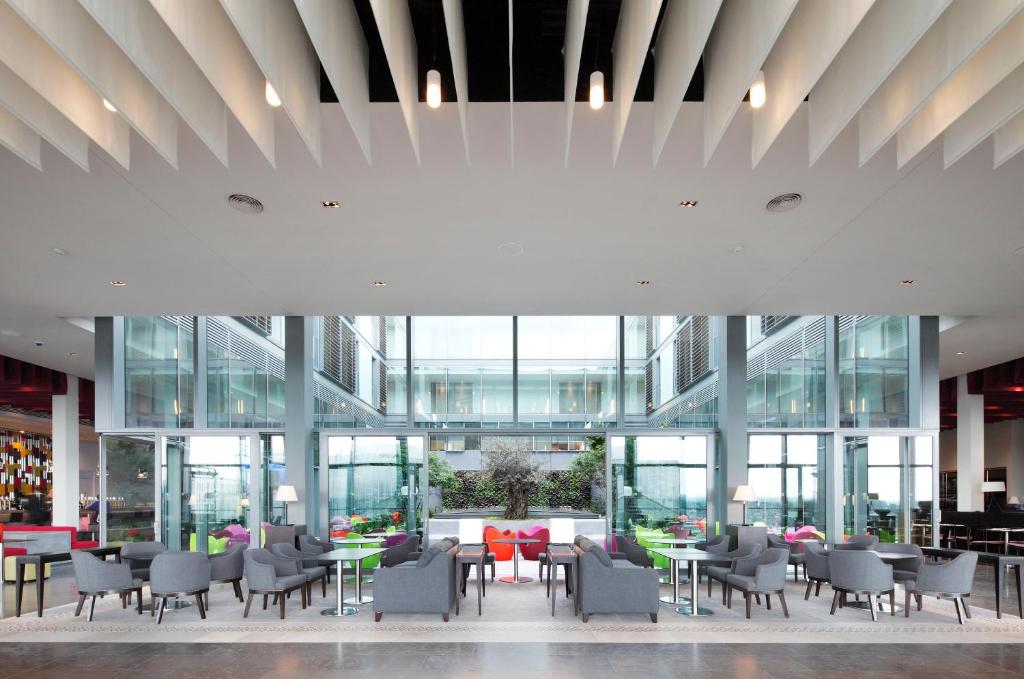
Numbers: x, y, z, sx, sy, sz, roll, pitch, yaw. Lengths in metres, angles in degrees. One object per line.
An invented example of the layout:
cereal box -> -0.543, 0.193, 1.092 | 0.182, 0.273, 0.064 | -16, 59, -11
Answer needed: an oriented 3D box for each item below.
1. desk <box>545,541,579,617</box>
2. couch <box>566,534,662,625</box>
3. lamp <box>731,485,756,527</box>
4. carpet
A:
desk -> 0.758, 3.753, 11.831 | 0.409, 0.842, 1.733 | 0, -9, 0
couch -> 1.494, 3.598, 11.485 | 1.050, 1.026, 2.455 | 1, -10, 0
lamp -> 4.125, 2.964, 13.341 | 0.370, 0.780, 0.954 | -1, -3, 16
carpet -> 0.075, 3.972, 10.469 | 13.548, 0.134, 1.942 | 0, -3, 0
